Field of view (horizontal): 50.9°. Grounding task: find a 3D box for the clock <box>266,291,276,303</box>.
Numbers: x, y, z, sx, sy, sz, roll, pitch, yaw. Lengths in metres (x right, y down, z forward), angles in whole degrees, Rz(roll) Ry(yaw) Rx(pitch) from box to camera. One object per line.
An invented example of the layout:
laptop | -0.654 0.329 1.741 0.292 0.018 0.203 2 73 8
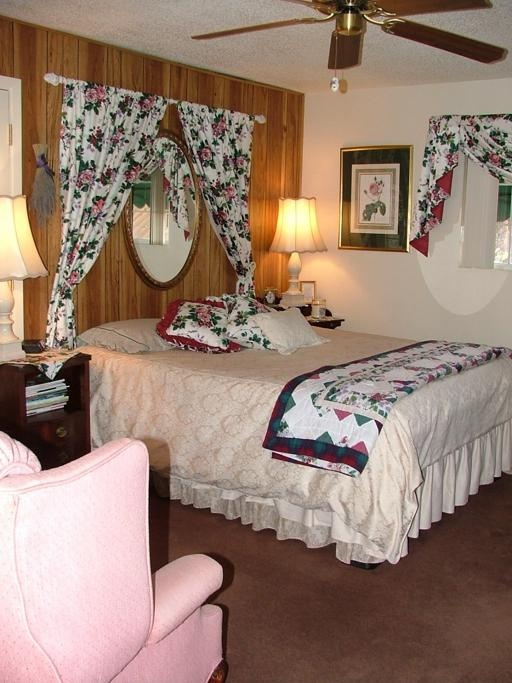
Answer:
clock | 0.131 -0.412 5.029 0.107 0.108 0.026 1 -5 -14

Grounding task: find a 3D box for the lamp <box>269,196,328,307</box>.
lamp | 0.386 -0.842 5.086 0.568 1.012 0.358 -3 8 -26

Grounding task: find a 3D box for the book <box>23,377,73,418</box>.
book | -1.100 0.298 2.834 0.141 0.065 0.184 1 11 23

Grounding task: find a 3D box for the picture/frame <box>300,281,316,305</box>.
picture/frame | 0.502 -0.467 5.208 0.232 0.272 0.022 -8 12 -37

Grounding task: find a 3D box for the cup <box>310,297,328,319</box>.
cup | 0.601 -0.286 5.030 0.157 0.172 0.163 0 6 0
